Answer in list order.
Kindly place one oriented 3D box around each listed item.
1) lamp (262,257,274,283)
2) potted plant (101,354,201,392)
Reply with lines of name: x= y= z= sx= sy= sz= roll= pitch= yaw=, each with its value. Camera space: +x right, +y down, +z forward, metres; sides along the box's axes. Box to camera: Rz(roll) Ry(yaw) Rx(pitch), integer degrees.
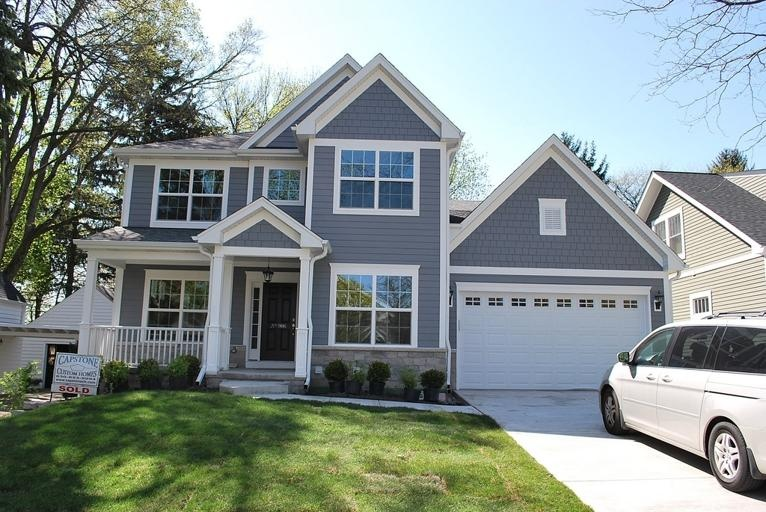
lamp: x=-3.715 y=0.504 z=18.200 sx=0.363 sy=0.885 sz=0.887 roll=0 pitch=5 yaw=-11
potted plant: x=-6.372 y=3.313 z=15.990 sx=2.621 sy=0.997 sz=1.131 roll=-3 pitch=-11 yaw=10
